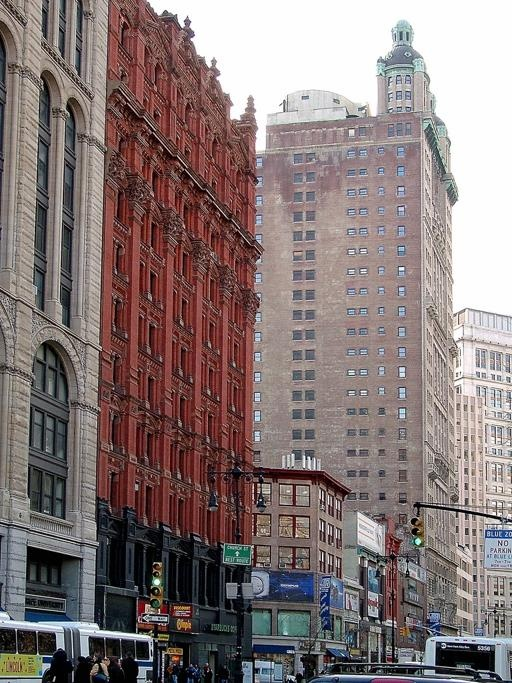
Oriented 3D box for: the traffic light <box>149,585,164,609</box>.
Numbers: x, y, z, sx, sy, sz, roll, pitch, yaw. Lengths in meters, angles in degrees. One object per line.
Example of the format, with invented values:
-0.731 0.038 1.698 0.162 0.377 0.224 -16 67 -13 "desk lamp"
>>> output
-3.809 9.597 63.254 0.396 0.895 0.876 2 -16 -6 "traffic light"
